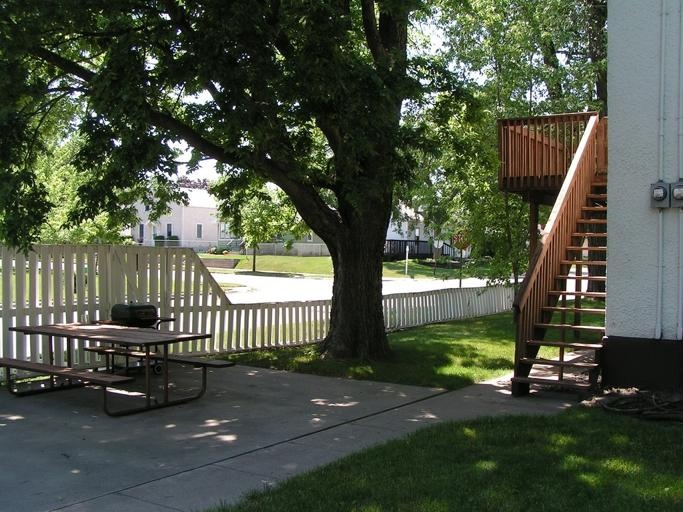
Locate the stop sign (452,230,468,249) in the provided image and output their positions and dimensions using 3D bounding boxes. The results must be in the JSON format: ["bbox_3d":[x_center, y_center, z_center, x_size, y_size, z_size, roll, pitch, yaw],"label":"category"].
[{"bbox_3d":[4.512,-0.582,25.923,0.306,0.730,0.727,3,-33,-8],"label":"stop sign"}]
